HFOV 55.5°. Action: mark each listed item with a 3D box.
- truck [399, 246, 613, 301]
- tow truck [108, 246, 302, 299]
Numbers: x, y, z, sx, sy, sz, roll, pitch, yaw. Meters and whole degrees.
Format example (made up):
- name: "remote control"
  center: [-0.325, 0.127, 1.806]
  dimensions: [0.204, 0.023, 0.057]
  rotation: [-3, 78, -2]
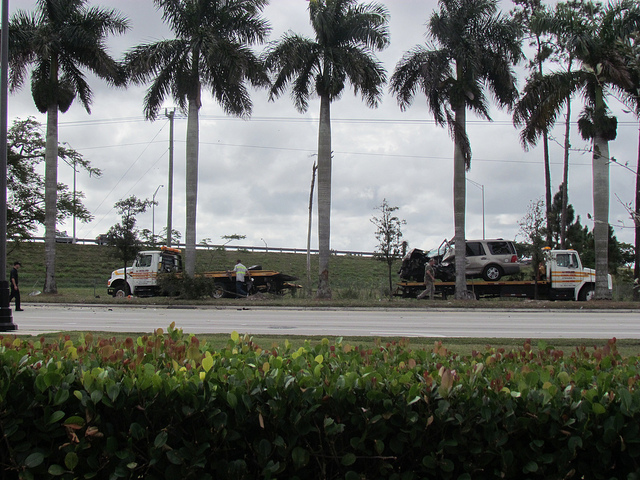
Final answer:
- name: "truck"
  center: [8.334, 1.906, 28.780]
  dimensions: [9.447, 3.342, 3.729]
  rotation: [-1, -2, 10]
- name: "tow truck"
  center: [-6.083, 1.741, 30.436]
  dimensions: [9.006, 3.106, 2.912]
  rotation: [-1, -6, 2]
